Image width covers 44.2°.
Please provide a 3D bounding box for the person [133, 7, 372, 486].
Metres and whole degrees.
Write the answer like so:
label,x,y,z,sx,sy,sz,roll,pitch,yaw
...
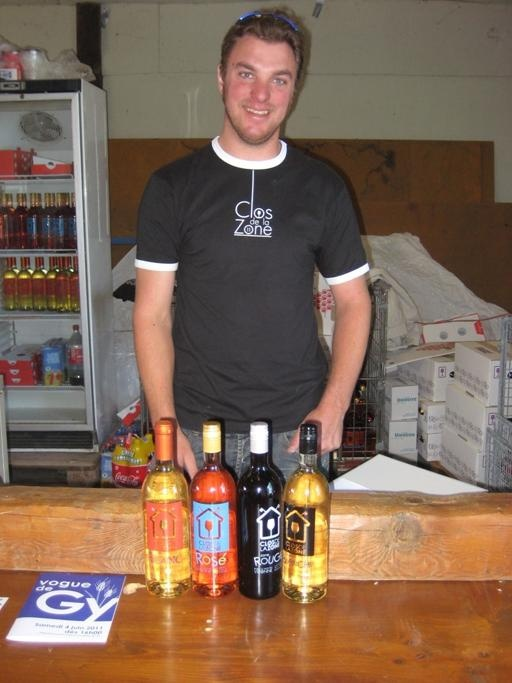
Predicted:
label,x,y,z,sx,sy,sz,roll,pitch,yaw
person,-0.008,-0.092,1.460,0.540,0.842,0.358,4,11,8
